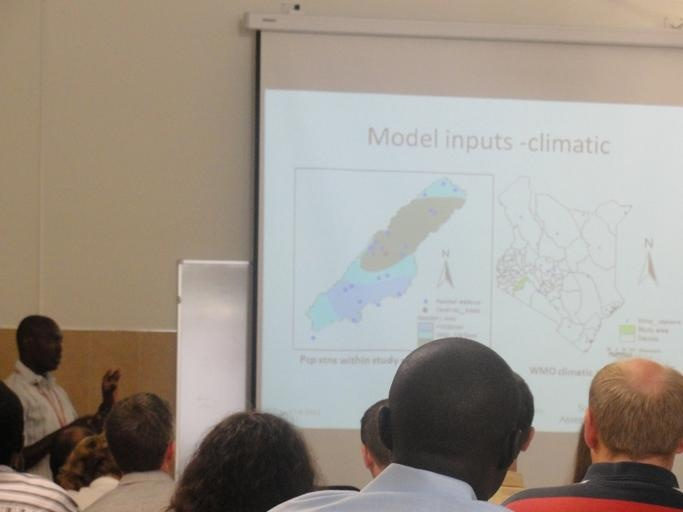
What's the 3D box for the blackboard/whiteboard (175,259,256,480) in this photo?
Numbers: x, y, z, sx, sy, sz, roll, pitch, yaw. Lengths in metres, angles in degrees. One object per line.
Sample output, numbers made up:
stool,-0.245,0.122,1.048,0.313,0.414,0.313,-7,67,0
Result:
blackboard/whiteboard,-0.639,0.623,5.585,0.366,1.212,0.051,1,19,-4
